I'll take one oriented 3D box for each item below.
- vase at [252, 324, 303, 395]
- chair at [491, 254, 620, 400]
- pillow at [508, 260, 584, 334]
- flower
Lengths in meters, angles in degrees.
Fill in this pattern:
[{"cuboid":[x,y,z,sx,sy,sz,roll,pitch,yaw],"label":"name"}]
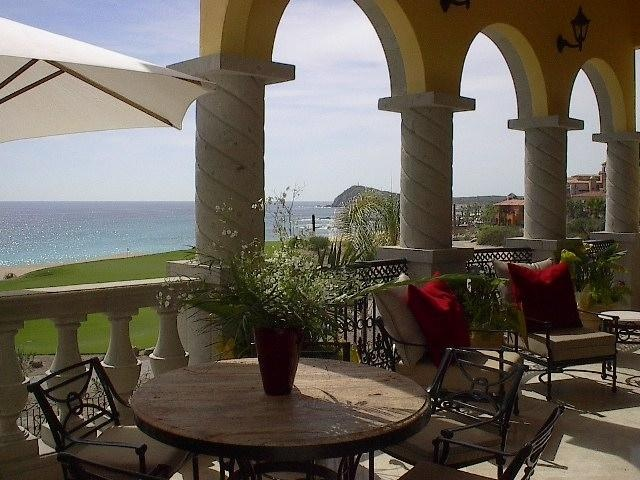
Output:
[{"cuboid":[-0.191,0.546,2.529,0.245,0.321,0.269,1,-3,-10],"label":"vase"},{"cuboid":[2.147,0.767,5.078,0.925,1.187,0.985,-1,-2,-41],"label":"chair"},{"cuboid":[2.051,0.545,5.231,0.728,0.866,0.318,-3,-14,-9],"label":"pillow"},{"cuboid":[-0.155,0.189,2.772,0.704,0.501,0.856,24,-8,-7],"label":"flower"}]
